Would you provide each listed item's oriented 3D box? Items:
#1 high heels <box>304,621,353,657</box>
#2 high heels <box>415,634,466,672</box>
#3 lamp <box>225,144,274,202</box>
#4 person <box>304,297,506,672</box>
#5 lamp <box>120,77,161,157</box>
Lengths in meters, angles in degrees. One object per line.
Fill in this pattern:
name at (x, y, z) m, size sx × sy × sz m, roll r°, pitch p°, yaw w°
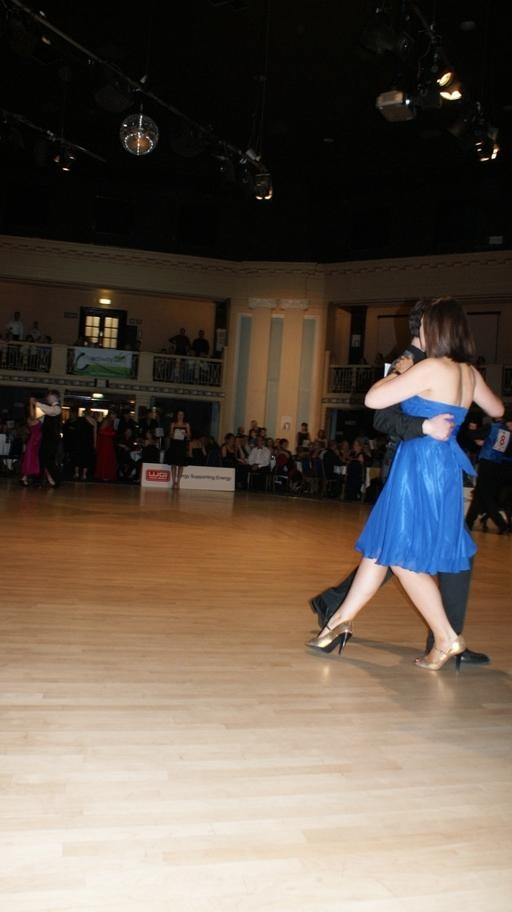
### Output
high heels at (0.311, 0.777, 2.820) m, size 0.092 × 0.141 × 0.263 m, roll 9°, pitch -17°, yaw -26°
high heels at (0.760, 0.824, 2.753) m, size 0.096 × 0.151 × 0.272 m, roll 15°, pitch -25°, yaw -30°
lamp at (-0.196, -5.203, 11.967) m, size 0.921 × 0.503 × 1.244 m, roll 14°, pitch 28°, yaw -22°
person at (0.663, 0.122, 2.705) m, size 0.686 × 1.468 × 0.388 m, roll 5°, pitch 1°, yaw 5°
lamp at (-1.568, -4.445, 9.003) m, size 0.328 × 0.593 × 0.336 m, roll 25°, pitch 32°, yaw 34°
